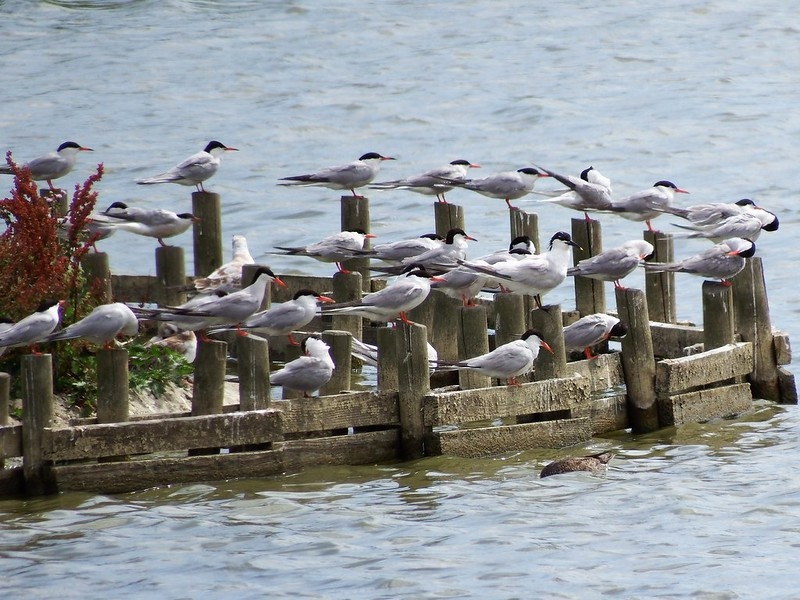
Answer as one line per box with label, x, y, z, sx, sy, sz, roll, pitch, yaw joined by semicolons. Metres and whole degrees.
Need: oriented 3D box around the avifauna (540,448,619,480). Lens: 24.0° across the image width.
avifauna;2.726;2.481;28.141;1.213;0.380;0.309;-15;-38;-19
